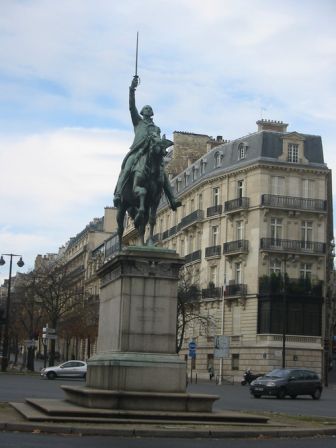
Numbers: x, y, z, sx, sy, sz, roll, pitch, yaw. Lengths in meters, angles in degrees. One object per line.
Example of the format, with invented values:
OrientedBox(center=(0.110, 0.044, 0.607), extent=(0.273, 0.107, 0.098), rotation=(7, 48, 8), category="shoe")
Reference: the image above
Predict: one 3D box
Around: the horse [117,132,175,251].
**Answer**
OrientedBox(center=(-0.434, -0.742, 21.174), extent=(1.127, 2.566, 2.010), rotation=(3, -8, -25), category="horse")

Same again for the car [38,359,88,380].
OrientedBox(center=(-5.164, 7.463, 46.103), extent=(2.050, 0.857, 1.045), rotation=(1, -7, -13), category="car")
